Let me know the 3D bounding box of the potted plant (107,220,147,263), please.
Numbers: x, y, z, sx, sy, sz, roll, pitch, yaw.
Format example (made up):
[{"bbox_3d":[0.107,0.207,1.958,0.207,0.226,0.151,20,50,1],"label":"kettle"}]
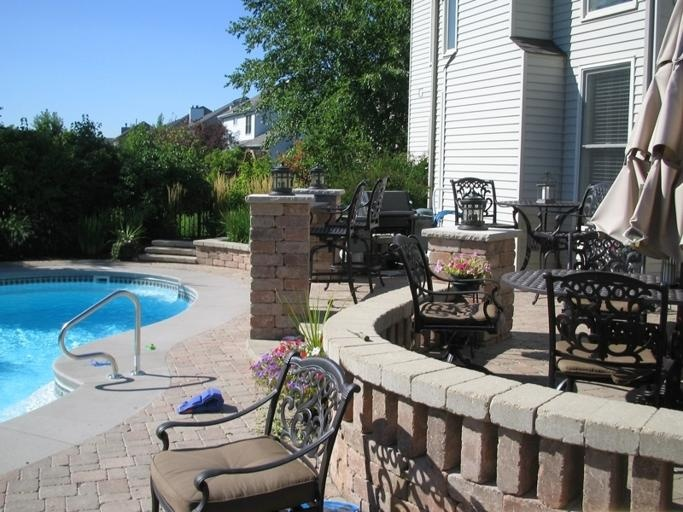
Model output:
[{"bbox_3d":[-4.580,-0.317,13.773,0.754,1.089,0.751,5,-1,37],"label":"potted plant"}]

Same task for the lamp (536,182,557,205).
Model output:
[{"bbox_3d":[3.034,-0.940,9.501,0.365,0.385,0.341,-2,3,-7],"label":"lamp"}]

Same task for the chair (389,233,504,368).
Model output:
[{"bbox_3d":[0.907,0.410,5.771,1.104,1.720,1.045,-2,5,16],"label":"chair"}]

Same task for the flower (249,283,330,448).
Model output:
[{"bbox_3d":[-0.423,0.733,4.719,0.655,0.922,0.414,-3,-23,3],"label":"flower"}]

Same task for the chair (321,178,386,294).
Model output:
[{"bbox_3d":[0.159,-0.221,9.137,0.553,1.175,1.631,3,6,11],"label":"chair"}]

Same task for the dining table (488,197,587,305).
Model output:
[{"bbox_3d":[2.729,0.009,9.248,1.495,1.609,1.577,2,6,25],"label":"dining table"}]

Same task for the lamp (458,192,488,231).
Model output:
[{"bbox_3d":[1.351,-0.464,6.763,0.354,0.455,0.377,0,-1,-1],"label":"lamp"}]

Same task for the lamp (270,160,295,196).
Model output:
[{"bbox_3d":[-0.655,-0.842,6.968,0.279,0.335,0.276,-1,2,-42],"label":"lamp"}]

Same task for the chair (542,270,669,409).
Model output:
[{"bbox_3d":[1.792,0.572,4.240,0.754,1.011,0.815,2,6,29],"label":"chair"}]

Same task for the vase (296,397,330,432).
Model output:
[{"bbox_3d":[-0.141,0.876,3.459,0.145,0.225,0.051,-10,-22,36],"label":"vase"}]
